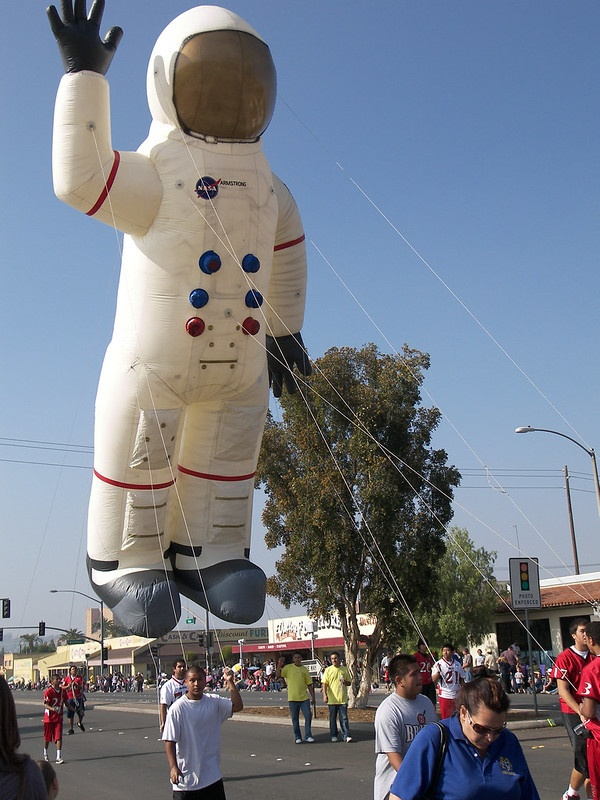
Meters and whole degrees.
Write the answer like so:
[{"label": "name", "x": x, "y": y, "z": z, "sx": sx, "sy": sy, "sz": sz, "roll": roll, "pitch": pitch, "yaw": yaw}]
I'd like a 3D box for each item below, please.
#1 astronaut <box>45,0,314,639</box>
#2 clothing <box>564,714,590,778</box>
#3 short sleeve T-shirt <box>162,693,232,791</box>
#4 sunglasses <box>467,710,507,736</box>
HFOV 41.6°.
[{"label": "astronaut", "x": -1.844, "y": -1.036, "z": 11.837, "sx": 2.911, "sy": 8.883, "sz": 4.278, "roll": -1, "pitch": -15, "yaw": -9}, {"label": "clothing", "x": 2.120, "y": 2.611, "z": 5.960, "sx": 0.115, "sy": 0.386, "sz": 0.168, "roll": 29, "pitch": -18, "yaw": -35}, {"label": "short sleeve T-shirt", "x": -0.657, "y": 2.210, "z": 5.131, "sx": 0.455, "sy": 0.560, "sz": 0.312, "roll": 1, "pitch": -15, "yaw": -14}, {"label": "sunglasses", "x": 0.651, "y": 1.124, "z": 2.765, "sx": 0.103, "sy": 0.034, "sz": 0.104, "roll": 7, "pitch": 9, "yaw": -3}]
